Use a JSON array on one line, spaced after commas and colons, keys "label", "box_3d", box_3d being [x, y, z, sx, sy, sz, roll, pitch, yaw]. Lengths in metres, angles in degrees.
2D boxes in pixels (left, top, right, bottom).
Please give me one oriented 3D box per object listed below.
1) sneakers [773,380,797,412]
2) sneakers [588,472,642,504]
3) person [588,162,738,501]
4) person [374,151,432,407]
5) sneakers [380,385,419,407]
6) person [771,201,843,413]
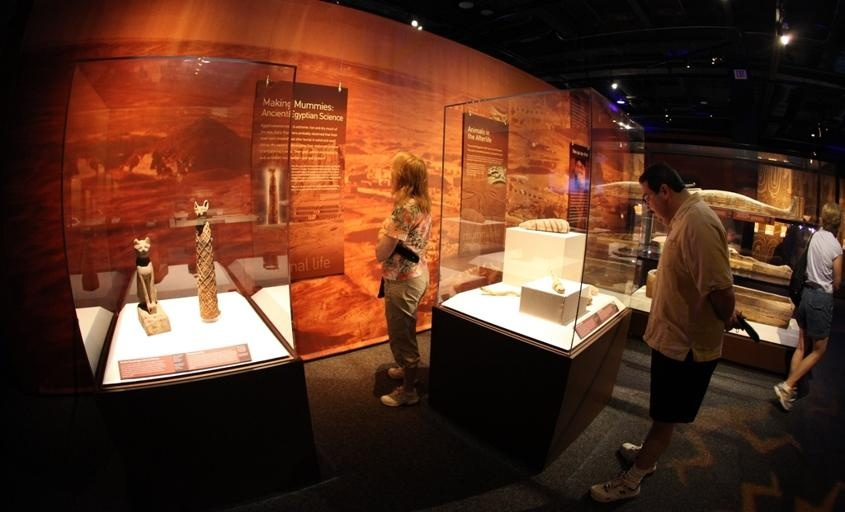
[{"label": "sneakers", "box_3d": [3.960, 1.507, 5.588, 0.176, 0.376, 0.141, -23, 14, 18]}, {"label": "sneakers", "box_3d": [1.735, 2.043, 4.623, 0.587, 0.241, 0.199, -1, 16, -4]}, {"label": "person", "box_3d": [2.184, 0.708, 4.446, 0.856, 2.943, 0.783, 7, 12, 30]}, {"label": "person", "box_3d": [-0.204, 0.299, 5.172, 0.516, 2.597, 0.241, 0, 11, -5]}, {"label": "sneakers", "box_3d": [-0.260, 1.487, 5.501, 0.423, 0.187, 0.187, 1, 4, -9]}, {"label": "person", "box_3d": [4.231, 0.545, 5.559, 0.401, 2.181, 0.647, 9, 13, 36]}]
